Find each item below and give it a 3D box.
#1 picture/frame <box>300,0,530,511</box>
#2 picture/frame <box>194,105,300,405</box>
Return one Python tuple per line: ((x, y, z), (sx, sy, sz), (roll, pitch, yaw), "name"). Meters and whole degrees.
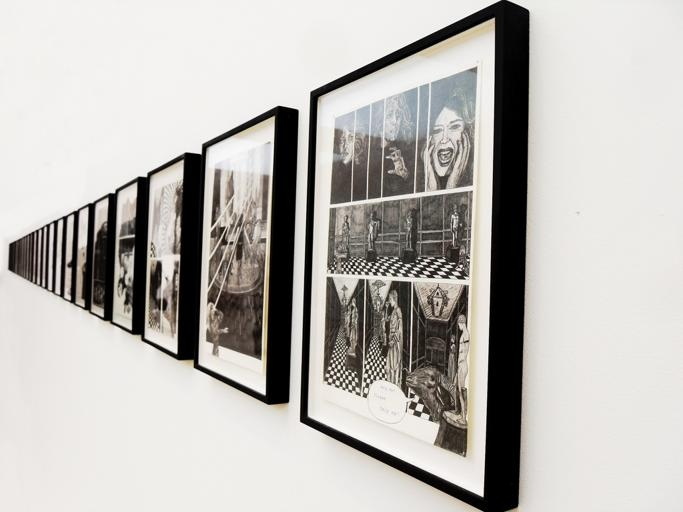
((0.090, -0.001, 0.926), (0.081, 0.691, 0.440), (0, -1, -40), "picture/frame")
((-0.217, -0.003, 1.262), (0.076, 0.581, 0.350), (0, -1, -38), "picture/frame")
